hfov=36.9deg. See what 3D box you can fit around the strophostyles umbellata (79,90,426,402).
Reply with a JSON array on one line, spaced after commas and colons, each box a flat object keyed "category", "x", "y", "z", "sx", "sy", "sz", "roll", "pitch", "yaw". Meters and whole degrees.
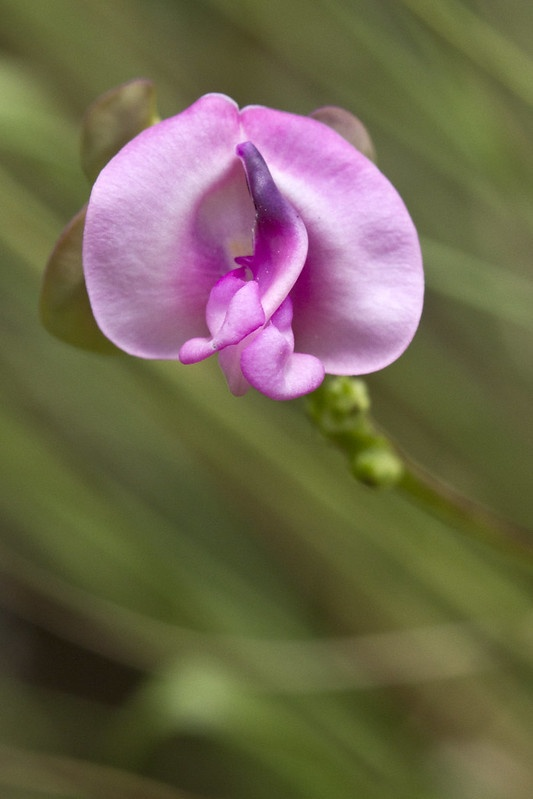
[{"category": "strophostyles umbellata", "x": -0.001, "y": -0.038, "z": 0.229, "sx": 0.092, "sy": 0.067, "sz": 0.068, "roll": 26, "pitch": 65, "yaw": 14}]
